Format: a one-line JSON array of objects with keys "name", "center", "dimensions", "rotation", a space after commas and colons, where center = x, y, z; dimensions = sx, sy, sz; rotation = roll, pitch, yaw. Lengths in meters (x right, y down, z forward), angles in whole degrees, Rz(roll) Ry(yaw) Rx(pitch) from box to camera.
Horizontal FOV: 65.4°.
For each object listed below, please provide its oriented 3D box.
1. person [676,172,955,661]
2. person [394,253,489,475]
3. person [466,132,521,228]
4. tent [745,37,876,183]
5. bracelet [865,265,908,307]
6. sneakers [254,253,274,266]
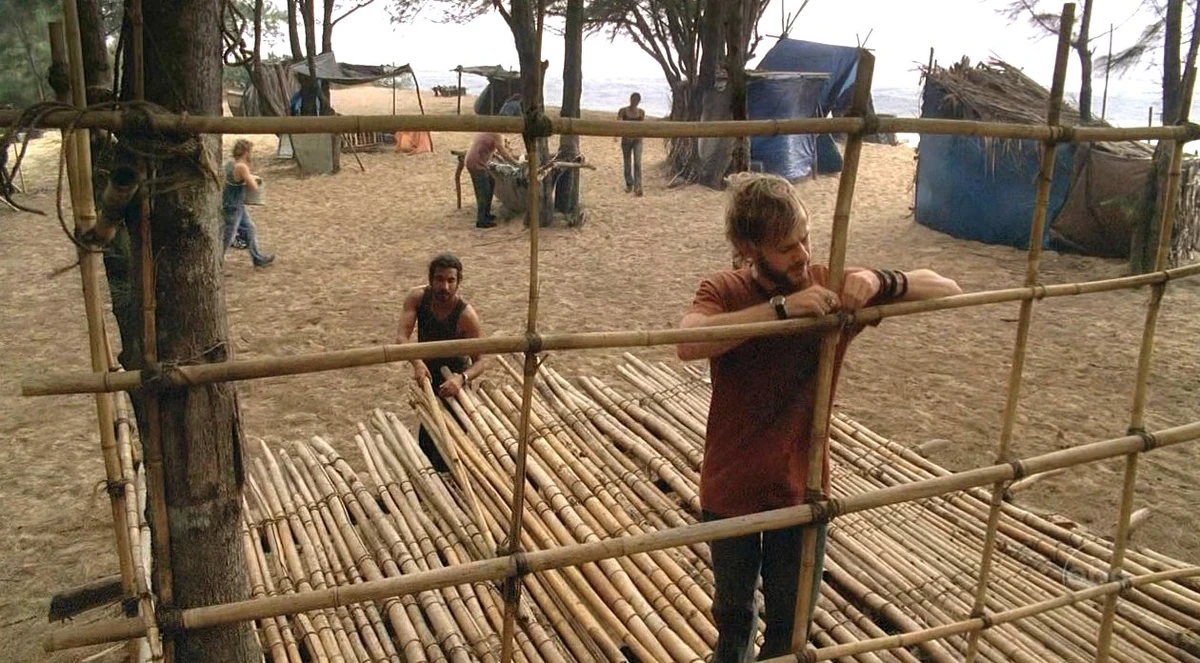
[{"name": "person", "center": [1.051, 0.557, 5.611], "dimensions": [0.930, 2.960, 0.949], "rotation": [12, 21, 35]}, {"name": "person", "center": [-1.271, 0.168, 7.408], "dimensions": [0.658, 1.538, 0.905], "rotation": [-3, 17, -9]}, {"name": "person", "center": [-1.639, -2.257, 13.837], "dimensions": [0.701, 1.336, 0.969], "rotation": [2, 16, 7]}, {"name": "tent", "center": [3.528, -3.910, 16.451], "dimensions": [1.695, 2.419, 2.457], "rotation": [3, 16, 12]}, {"name": "bracelet", "center": [1.707, -0.271, 5.482], "dimensions": [0.262, 0.115, 0.181], "rotation": [-4, 50, -2]}, {"name": "sneakers", "center": [-4.235, -0.901, 11.779], "dimensions": [0.212, 0.081, 0.145], "rotation": [-19, -10, -34]}]
